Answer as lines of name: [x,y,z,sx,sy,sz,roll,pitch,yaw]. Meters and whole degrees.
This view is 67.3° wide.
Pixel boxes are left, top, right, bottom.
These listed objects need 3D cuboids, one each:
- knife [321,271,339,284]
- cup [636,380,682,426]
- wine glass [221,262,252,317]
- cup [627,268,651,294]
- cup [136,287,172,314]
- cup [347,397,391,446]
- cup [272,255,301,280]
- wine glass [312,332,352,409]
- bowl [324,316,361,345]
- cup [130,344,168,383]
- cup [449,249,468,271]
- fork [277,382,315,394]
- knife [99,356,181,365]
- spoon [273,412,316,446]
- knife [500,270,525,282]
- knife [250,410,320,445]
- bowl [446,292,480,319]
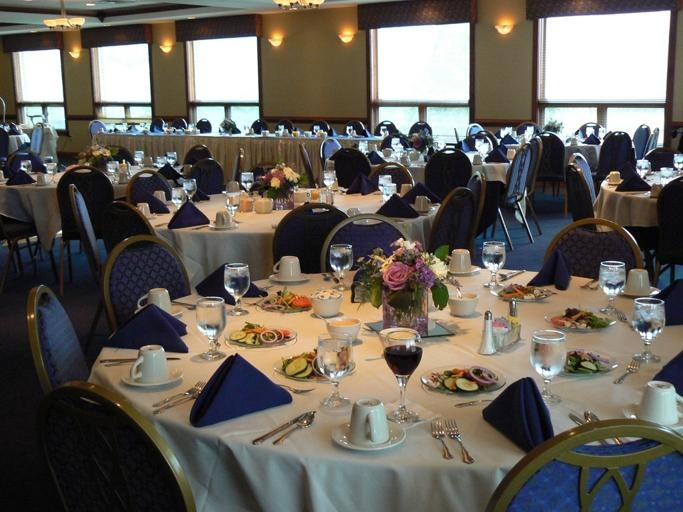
knife: [-0.053,0.102,2.516,0.049,0.058,0.123,5,-3,-9]
cup: [0.797,0.369,1.285,0.083,0.098,0.091,1,4,0]
wine glass: [-0.417,0.138,2.045,0.127,0.260,0.146,-4,18,-17]
cup: [1.278,0.099,2.233,0.090,0.107,0.092,1,9,0]
cup: [-0.744,0.162,2.040,0.131,0.118,0.092,1,8,1]
cup: [0.067,0.405,1.286,0.063,0.083,0.112,1,10,2]
cup: [-0.258,0.052,2.516,0.121,0.122,0.096,-2,8,-9]
wine glass: [-0.018,0.301,1.441,0.090,0.227,0.220,-1,14,-1]
bowl: [0.011,0.241,1.748,0.088,0.062,0.098,0,3,2]
cup: [-0.576,0.333,1.557,0.072,0.109,0.116,8,14,27]
cup: [0.609,-0.001,2.605,0.107,0.119,0.108,0,7,0]
fork: [-0.134,0.390,1.522,0.109,0.019,0.020,8,15,28]
knife: [-0.643,0.335,1.664,0.199,0.012,0.033,-7,12,3]
spoon: [-0.117,0.438,1.332,0.033,0.031,0.200,4,18,21]
knife: [0.860,0.087,2.562,0.055,0.021,0.255,38,29,32]
knife: [-0.140,0.442,1.327,0.053,0.028,0.175,7,20,27]
bowl: [0.487,0.192,2.087,0.088,0.066,0.097,-1,-1,-2]
